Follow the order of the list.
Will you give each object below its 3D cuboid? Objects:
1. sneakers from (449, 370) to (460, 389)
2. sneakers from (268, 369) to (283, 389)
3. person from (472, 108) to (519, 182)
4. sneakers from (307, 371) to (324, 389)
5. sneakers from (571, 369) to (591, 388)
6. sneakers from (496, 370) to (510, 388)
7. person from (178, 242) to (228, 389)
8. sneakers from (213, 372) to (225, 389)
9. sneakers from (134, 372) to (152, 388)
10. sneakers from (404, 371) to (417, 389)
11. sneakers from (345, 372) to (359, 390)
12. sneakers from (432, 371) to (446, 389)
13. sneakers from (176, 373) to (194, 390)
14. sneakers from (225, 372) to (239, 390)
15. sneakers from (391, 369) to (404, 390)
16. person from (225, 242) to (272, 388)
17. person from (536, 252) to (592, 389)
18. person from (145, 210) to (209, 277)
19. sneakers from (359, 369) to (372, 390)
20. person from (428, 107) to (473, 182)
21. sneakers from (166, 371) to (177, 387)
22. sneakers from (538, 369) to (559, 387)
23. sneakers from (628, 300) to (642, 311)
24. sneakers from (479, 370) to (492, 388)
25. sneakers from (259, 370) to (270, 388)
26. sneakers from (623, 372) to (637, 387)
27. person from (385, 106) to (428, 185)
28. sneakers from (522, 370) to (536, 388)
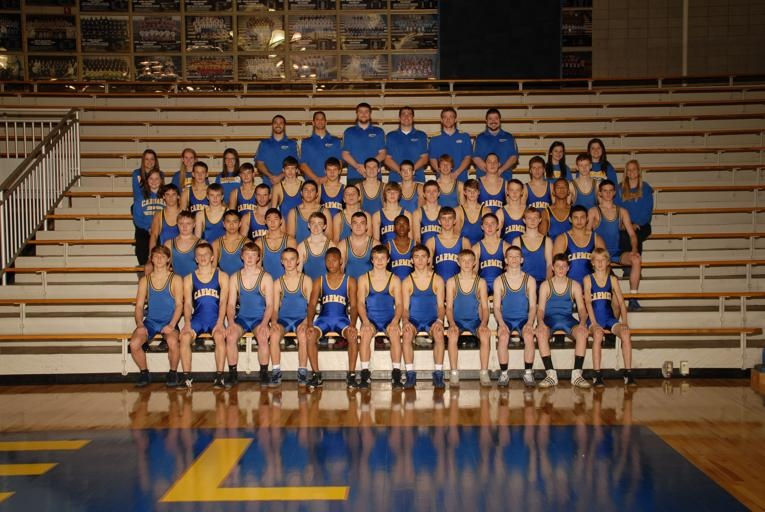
[{"bbox_3d":[0.836,1.441,8.922,0.107,0.201,0.169,0,8,2],"label":"sneakers"},{"bbox_3d":[-1.285,1.445,9.020,0.120,0.210,0.215,0,8,3],"label":"sneakers"},{"bbox_3d":[1.556,-1.434,10.640,0.720,1.191,0.634,-1,5,6],"label":"person"},{"bbox_3d":[-0.812,1.452,9.016,0.173,0.195,0.269,-1,8,-3],"label":"sneakers"},{"bbox_3d":[2.324,1.437,8.925,0.214,0.183,0.319,-1,8,-2],"label":"sneakers"},{"bbox_3d":[1.425,1.450,8.962,0.095,0.122,0.280,0,4,11],"label":"sneakers"},{"bbox_3d":[-2.124,0.820,9.066,0.601,1.434,0.536,-3,8,-12],"label":"person"},{"bbox_3d":[-1.925,1.470,9.002,0.126,0.186,0.164,0,8,8],"label":"sneakers"},{"bbox_3d":[-2.895,1.453,9.131,0.163,0.181,0.292,-3,8,-19],"label":"sneakers"},{"bbox_3d":[0.320,1.457,8.937,0.134,0.192,0.166,-1,8,1],"label":"sneakers"},{"bbox_3d":[-0.352,1.469,8.907,0.134,0.185,0.133,-2,8,-11],"label":"sneakers"},{"bbox_3d":[0.664,1.444,9.002,0.159,0.193,0.367,0,8,2],"label":"sneakers"},{"bbox_3d":[-2.383,1.503,9.023,0.263,0.236,0.130,8,-15,-14],"label":"sneakers"},{"bbox_3d":[-1.803,1.478,9.035,0.160,0.156,0.293,-2,8,-11],"label":"sneakers"},{"bbox_3d":[0.170,1.439,8.962,0.150,0.223,0.194,-1,8,0],"label":"sneakers"},{"bbox_3d":[-1.587,0.689,9.077,0.568,1.684,0.554,-2,8,-5],"label":"person"},{"bbox_3d":[2.160,0.751,9.037,0.622,1.526,0.724,1,8,11],"label":"person"},{"bbox_3d":[-2.549,-0.130,9.472,0.768,0.876,0.487,4,10,-9],"label":"person"},{"bbox_3d":[-0.214,1.443,8.979,0.127,0.214,0.266,-1,8,-2],"label":"sneakers"},{"bbox_3d":[0.949,-1.458,10.501,0.656,1.161,0.605,-6,12,-7],"label":"person"},{"bbox_3d":[-2.508,1.455,9.034,0.139,0.191,0.247,-3,8,-15],"label":"sneakers"},{"bbox_3d":[1.965,1.432,8.984,0.217,0.192,0.368,2,8,16],"label":"sneakers"},{"bbox_3d":[3.157,0.627,9.515,0.196,0.175,0.090,0,3,-6],"label":"sneakers"},{"bbox_3d":[1.222,1.429,9.033,0.134,0.197,0.400,0,8,6],"label":"sneakers"},{"bbox_3d":[-1.401,1.450,9.013,0.114,0.181,0.173,-2,8,-7],"label":"sneakers"},{"bbox_3d":[2.910,1.436,8.942,0.137,0.160,0.236,2,8,16],"label":"sneakers"},{"bbox_3d":[0.327,-1.446,10.479,0.678,1.169,0.613,-3,11,-9],"label":"person"},{"bbox_3d":[1.737,1.436,8.939,0.088,0.099,0.258,0,11,3],"label":"sneakers"}]
